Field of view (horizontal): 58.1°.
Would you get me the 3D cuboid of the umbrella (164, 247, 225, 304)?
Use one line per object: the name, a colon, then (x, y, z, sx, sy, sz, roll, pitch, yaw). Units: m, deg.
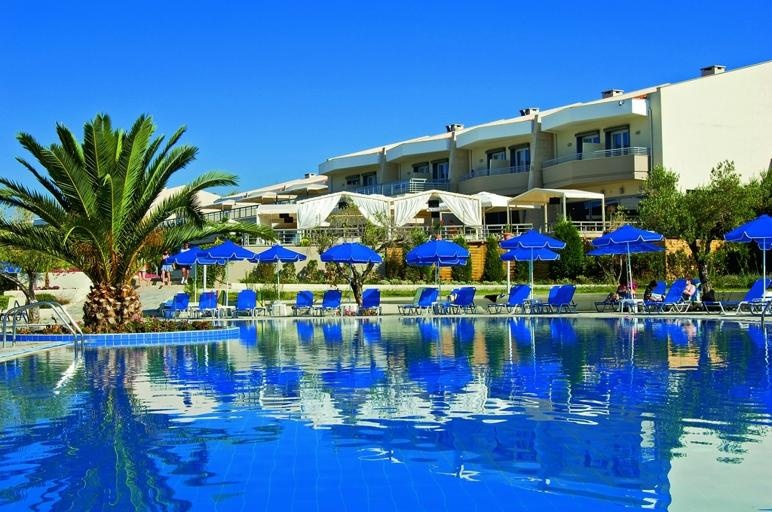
umbrella: (-8.940, 0.921, 32.681, 2.562, 1.895, 2.644, 4, -5, -43)

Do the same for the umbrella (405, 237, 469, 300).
umbrella: (1.971, -0.009, 27.045, 2.279, 1.996, 2.132, -2, -2, 26)

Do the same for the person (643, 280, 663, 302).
person: (9.463, 1.251, 24.714, 0.605, 0.844, 0.251, 8, -8, 6)

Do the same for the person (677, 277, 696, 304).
person: (10.612, 1.245, 24.467, 0.539, 0.741, 0.526, -4, -4, 23)
